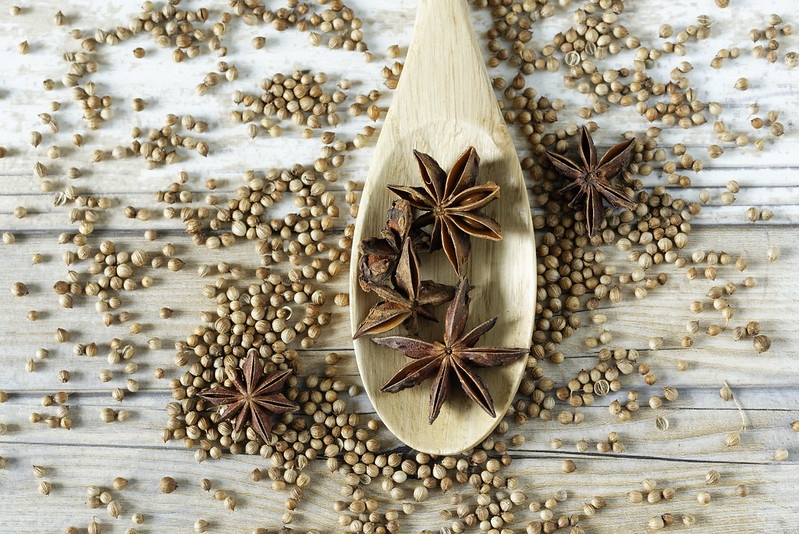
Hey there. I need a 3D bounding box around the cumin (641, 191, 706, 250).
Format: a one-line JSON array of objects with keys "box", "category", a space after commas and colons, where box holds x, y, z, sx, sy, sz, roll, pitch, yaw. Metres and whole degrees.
[{"box": [0.977, -0.168, 4.175, 0.226, 0.052, 0.210, 8, 79, -1], "category": "cumin"}]

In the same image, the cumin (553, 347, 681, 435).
[{"box": [0.787, 0.443, 4.158, 0.432, 0.087, 0.280, 4, 77, 3], "category": "cumin"}]
